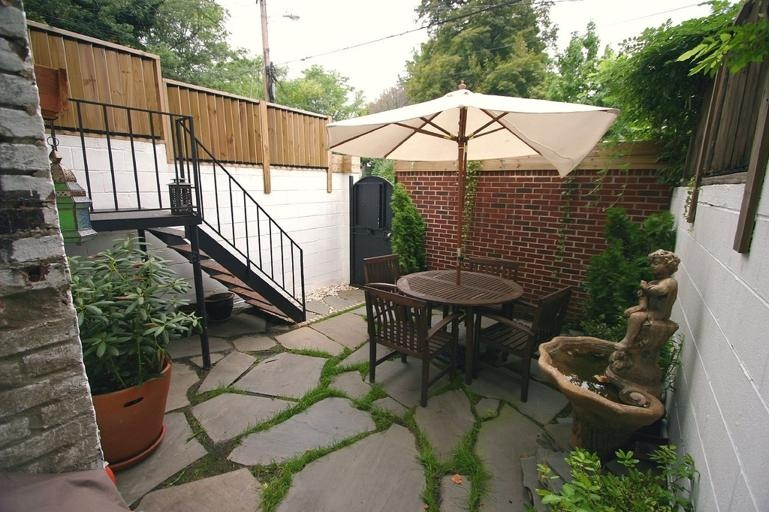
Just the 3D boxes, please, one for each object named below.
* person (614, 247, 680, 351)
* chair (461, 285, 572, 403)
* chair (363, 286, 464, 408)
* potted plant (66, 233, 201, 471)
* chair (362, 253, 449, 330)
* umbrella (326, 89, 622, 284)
[{"bbox_3d":[2.014,0.332,3.844,0.373,0.765,0.346,4,17,20],"label":"person"},{"bbox_3d":[1.258,0.889,4.913,0.918,1.093,0.870,-11,20,-34],"label":"chair"},{"bbox_3d":[0.322,0.771,5.114,0.787,1.075,0.972,10,19,35],"label":"chair"},{"bbox_3d":[-2.153,0.722,4.452,0.862,1.779,1.257,-10,18,-25],"label":"potted plant"},{"bbox_3d":[0.179,0.436,5.925,0.706,0.825,0.716,6,11,29],"label":"chair"},{"bbox_3d":[0.844,-0.471,5.314,2.555,1.665,2.574,8,11,41],"label":"umbrella"}]
